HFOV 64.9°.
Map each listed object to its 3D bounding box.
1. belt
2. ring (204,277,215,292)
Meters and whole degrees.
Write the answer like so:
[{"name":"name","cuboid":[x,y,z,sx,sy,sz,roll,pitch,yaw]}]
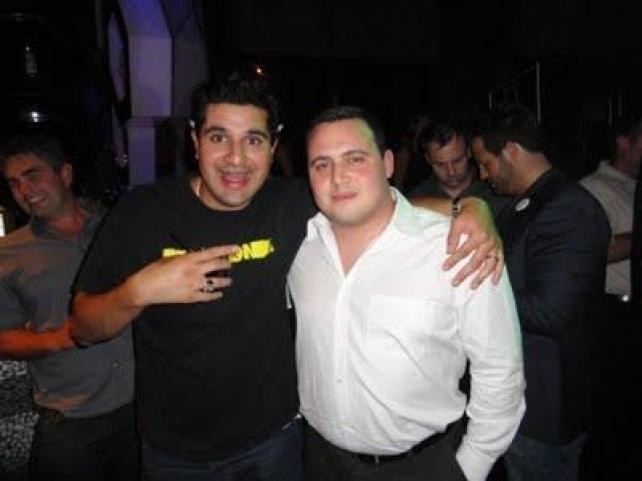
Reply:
[{"name":"belt","cuboid":[0.523,1.130,2.772,0.315,0.079,0.280,-8,13,9]},{"name":"ring","cuboid":[-0.614,0.242,2.752,0.072,0.074,0.018,-3,10,7]}]
